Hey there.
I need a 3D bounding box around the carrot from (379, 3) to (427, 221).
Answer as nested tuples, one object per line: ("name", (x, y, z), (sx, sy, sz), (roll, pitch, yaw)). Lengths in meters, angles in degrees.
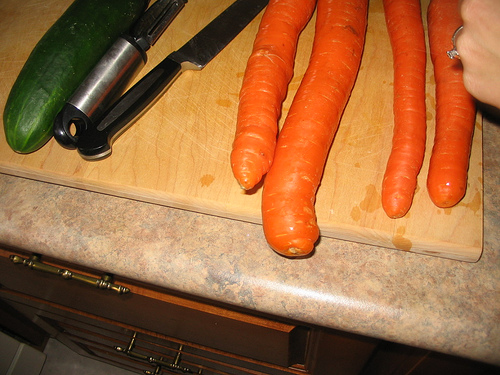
("carrot", (0.452, -0.322, 1.306), (0.114, 0.106, 0.838), (6, 69, -11))
